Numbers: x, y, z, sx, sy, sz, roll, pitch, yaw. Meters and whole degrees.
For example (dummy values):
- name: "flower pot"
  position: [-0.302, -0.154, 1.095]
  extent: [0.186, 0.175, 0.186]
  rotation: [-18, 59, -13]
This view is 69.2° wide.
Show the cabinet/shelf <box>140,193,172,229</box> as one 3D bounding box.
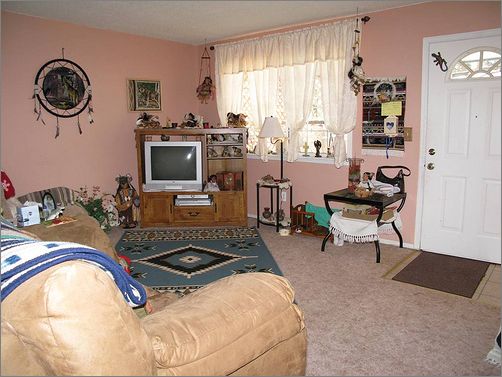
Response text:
- name: "cabinet/shelf"
  position: [-1.352, 0.291, 5.179]
  extent: [0.481, 0.461, 0.189]
  rotation: [2, 3, 5]

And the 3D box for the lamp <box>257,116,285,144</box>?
- name: "lamp"
  position: [0.266, -0.851, 5.087]
  extent: [0.367, 0.493, 0.382]
  rotation: [-4, 14, -6]

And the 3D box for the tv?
- name: "tv"
  position: [-1.066, -0.323, 5.395]
  extent: [1.059, 0.926, 0.629]
  rotation: [0, 2, 2]

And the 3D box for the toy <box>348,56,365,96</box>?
- name: "toy"
  position: [1.298, -1.402, 4.493]
  extent: [0.205, 0.462, 0.234]
  rotation: [4, 14, 15]

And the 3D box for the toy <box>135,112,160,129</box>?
- name: "toy"
  position: [-1.535, -0.995, 5.410]
  extent: [0.257, 0.136, 0.335]
  rotation: [-1, 7, -8]

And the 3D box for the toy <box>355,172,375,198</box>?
- name: "toy"
  position: [1.317, -0.061, 4.216]
  extent: [0.188, 0.088, 0.362]
  rotation: [1, 24, 15]

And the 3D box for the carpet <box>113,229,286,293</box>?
- name: "carpet"
  position: [-0.664, 0.776, 4.053]
  extent: [1.805, 0.014, 1.856]
  rotation: [1, 9, -9]

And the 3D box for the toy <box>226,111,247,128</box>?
- name: "toy"
  position: [-0.225, -1.015, 5.467]
  extent: [0.251, 0.183, 0.252]
  rotation: [3, 5, 33]

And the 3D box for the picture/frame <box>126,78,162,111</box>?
- name: "picture/frame"
  position: [-1.670, -1.444, 5.568]
  extent: [0.516, 0.430, 0.041]
  rotation: [-8, 14, -36]

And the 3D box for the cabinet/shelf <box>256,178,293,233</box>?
- name: "cabinet/shelf"
  position: [0.346, 0.183, 5.302]
  extent: [0.519, 0.689, 0.787]
  rotation: [1, 13, 6]

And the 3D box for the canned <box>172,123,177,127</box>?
- name: "canned"
  position: [-1.140, -0.938, 5.371]
  extent: [0.066, 0.065, 0.067]
  rotation: [2, 6, 23]

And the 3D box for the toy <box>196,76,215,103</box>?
- name: "toy"
  position: [-0.755, -1.631, 5.970]
  extent: [0.305, 0.446, 0.524]
  rotation: [-2, 13, -8]

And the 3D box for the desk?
- name: "desk"
  position: [1.367, 0.167, 4.318]
  extent: [0.735, 0.352, 0.809]
  rotation: [10, 16, 37]

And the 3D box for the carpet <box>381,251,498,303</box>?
- name: "carpet"
  position: [1.922, 0.850, 3.743]
  extent: [0.767, 0.023, 1.042]
  rotation: [11, 17, 41]
